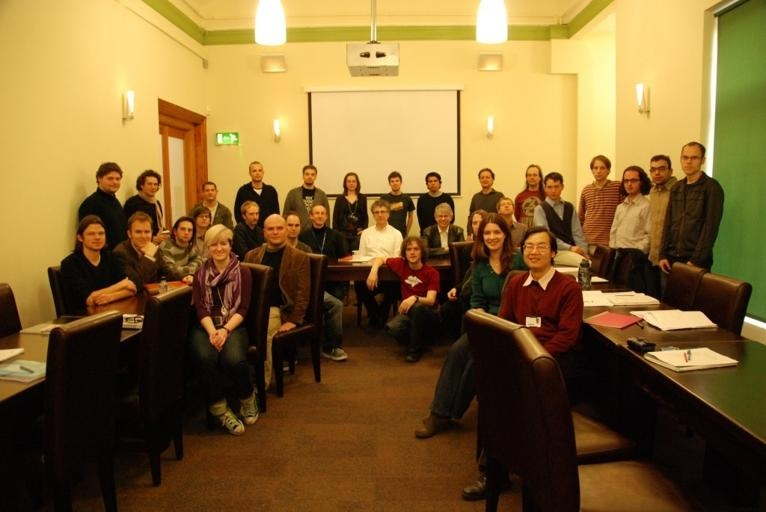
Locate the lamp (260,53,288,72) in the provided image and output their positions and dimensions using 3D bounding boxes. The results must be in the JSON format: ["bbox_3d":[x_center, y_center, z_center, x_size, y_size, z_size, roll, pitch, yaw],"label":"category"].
[{"bbox_3d":[-1.648,-2.892,8.504,0.267,0.179,0.279,2,14,9],"label":"lamp"}]

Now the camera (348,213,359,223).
[{"bbox_3d":[-0.378,-0.482,7.281,0.083,0.091,0.120,3,20,-13],"label":"camera"}]

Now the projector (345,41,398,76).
[{"bbox_3d":[-0.095,-1.935,5.491,0.478,0.264,0.999,0,10,-1],"label":"projector"}]

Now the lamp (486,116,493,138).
[{"bbox_3d":[1.636,-1.960,8.602,0.118,0.326,0.091,0,10,1],"label":"lamp"}]

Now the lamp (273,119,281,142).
[{"bbox_3d":[-1.611,-1.909,8.602,0.120,0.338,0.102,-3,10,-12],"label":"lamp"}]

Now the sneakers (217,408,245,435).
[{"bbox_3d":[-1.170,1.227,4.322,0.113,0.126,0.307,-36,25,-19],"label":"sneakers"}]

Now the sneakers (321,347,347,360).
[{"bbox_3d":[-0.475,0.941,5.453,0.223,0.096,0.099,1,3,28],"label":"sneakers"}]

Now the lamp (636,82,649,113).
[{"bbox_3d":[3.113,-1.874,6.747,0.088,0.382,0.200,-1,10,-2],"label":"lamp"}]

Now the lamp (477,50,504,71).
[{"bbox_3d":[1.620,-2.908,8.472,0.411,0.297,0.230,0,5,0],"label":"lamp"}]

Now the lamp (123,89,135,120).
[{"bbox_3d":[-2.985,-1.777,6.696,0.094,0.358,0.301,-1,10,-3],"label":"lamp"}]
